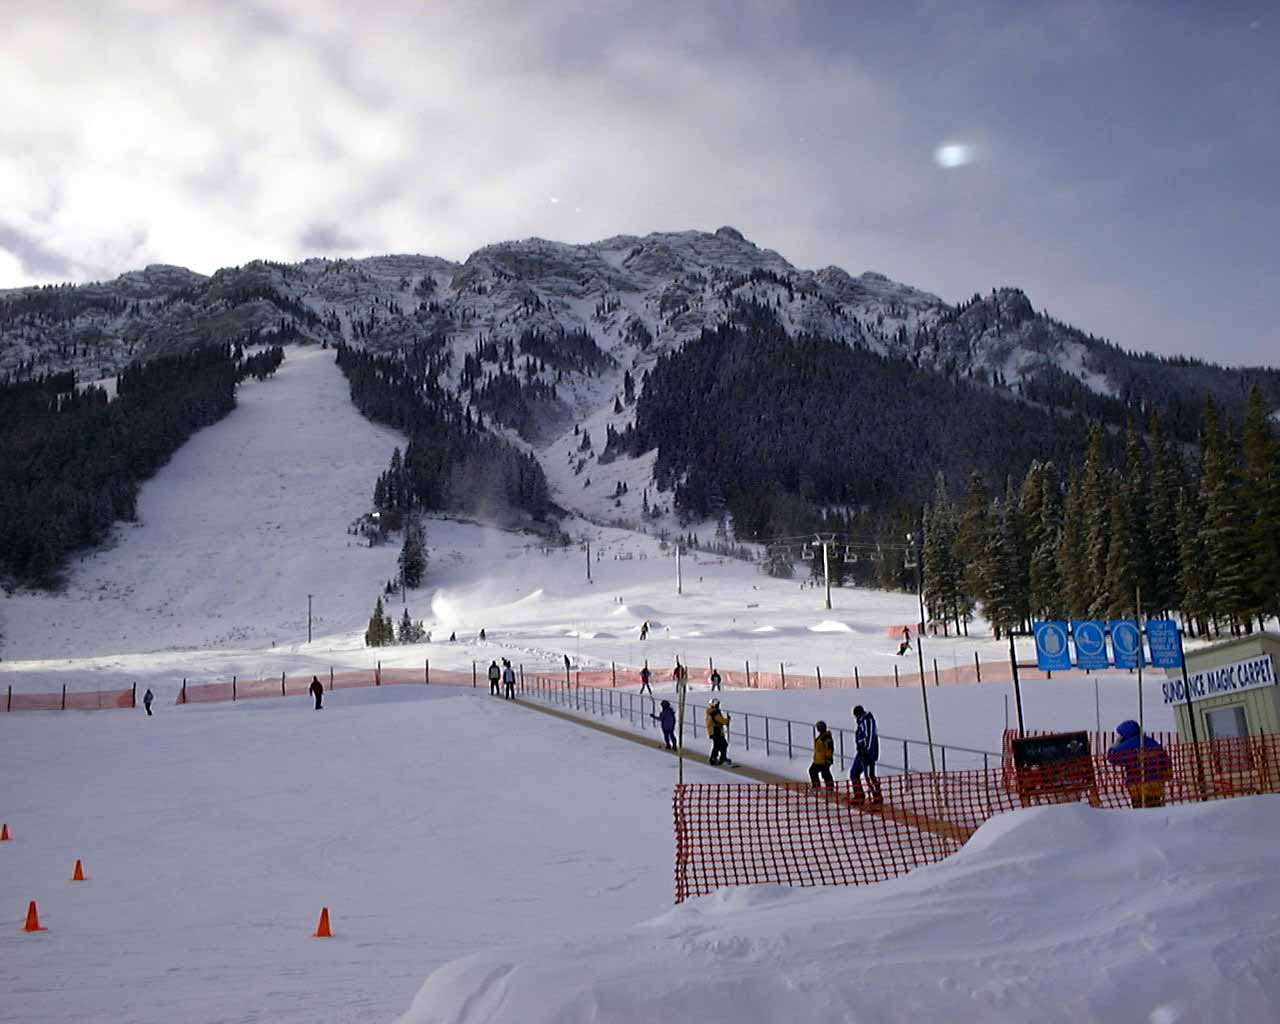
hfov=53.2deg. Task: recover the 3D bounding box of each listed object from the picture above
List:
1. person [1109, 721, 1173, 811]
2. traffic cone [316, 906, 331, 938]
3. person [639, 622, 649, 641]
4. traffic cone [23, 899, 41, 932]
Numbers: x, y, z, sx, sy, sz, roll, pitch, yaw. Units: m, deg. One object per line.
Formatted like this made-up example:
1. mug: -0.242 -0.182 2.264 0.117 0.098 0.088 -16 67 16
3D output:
1. person: 9.682 4.895 24.812 1.103 1.594 1.118 -6 -8 25
2. traffic cone: -6.221 8.137 25.176 0.312 0.502 0.738 0 -8 -14
3. person: 0.216 7.008 75.502 0.509 0.996 0.320 -5 -14 20
4. traffic cone: -12.011 8.022 25.330 0.336 0.597 1.225 1 -9 -26
